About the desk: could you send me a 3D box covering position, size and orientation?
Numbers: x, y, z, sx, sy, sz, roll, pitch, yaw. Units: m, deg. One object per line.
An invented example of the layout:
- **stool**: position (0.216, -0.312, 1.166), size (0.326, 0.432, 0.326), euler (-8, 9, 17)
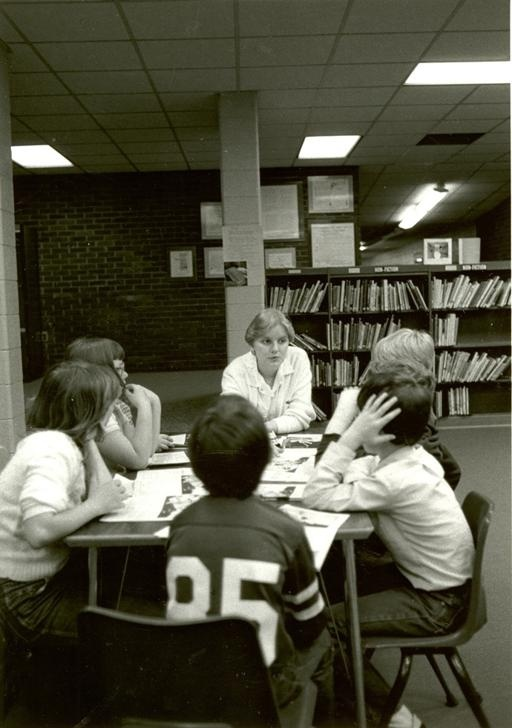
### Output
- **desk**: position (-0.044, 0.439, 1.132), size (0.486, 0.359, 0.484), euler (-2, -6, 4)

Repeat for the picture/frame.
- **picture/frame**: position (0.125, -1.212, 5.661), size (1.603, 0.939, 0.448), euler (-5, 7, -32)
